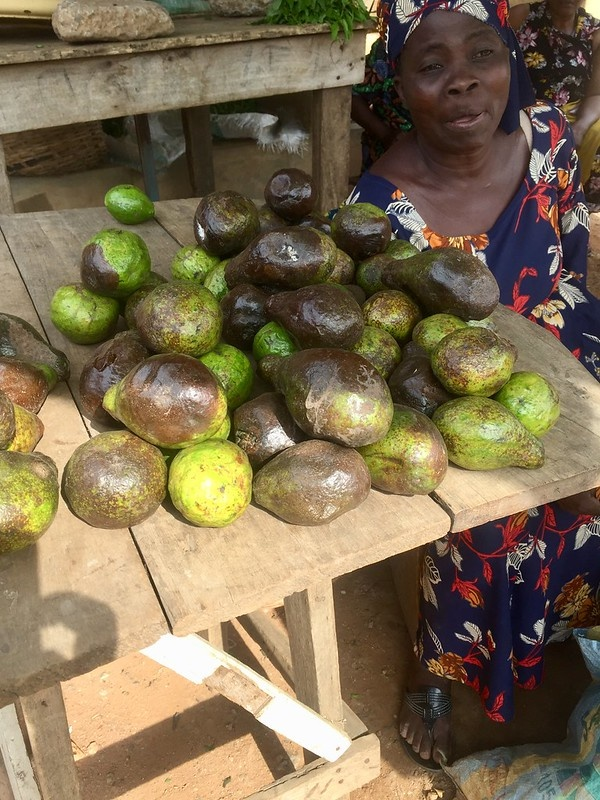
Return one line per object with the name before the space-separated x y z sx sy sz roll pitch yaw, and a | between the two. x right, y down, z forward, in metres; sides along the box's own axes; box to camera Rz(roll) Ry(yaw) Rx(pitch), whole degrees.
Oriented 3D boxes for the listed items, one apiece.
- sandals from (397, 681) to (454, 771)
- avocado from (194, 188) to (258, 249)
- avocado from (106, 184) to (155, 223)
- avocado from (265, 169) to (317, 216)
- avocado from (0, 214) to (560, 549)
sandals | 0.411 1.052 2.333 0.122 0.118 0.310 -3 39 -1
avocado | -0.158 -0.380 1.494 0.123 0.103 0.148 8 16 28
avocado | -0.476 -0.541 1.943 0.138 0.086 0.084 9 -2 -4
avocado | -0.021 -0.458 1.576 0.112 0.117 0.111 -1 38 -2
avocado | 0.015 -0.014 1.132 0.793 0.188 0.508 -1 49 -6
